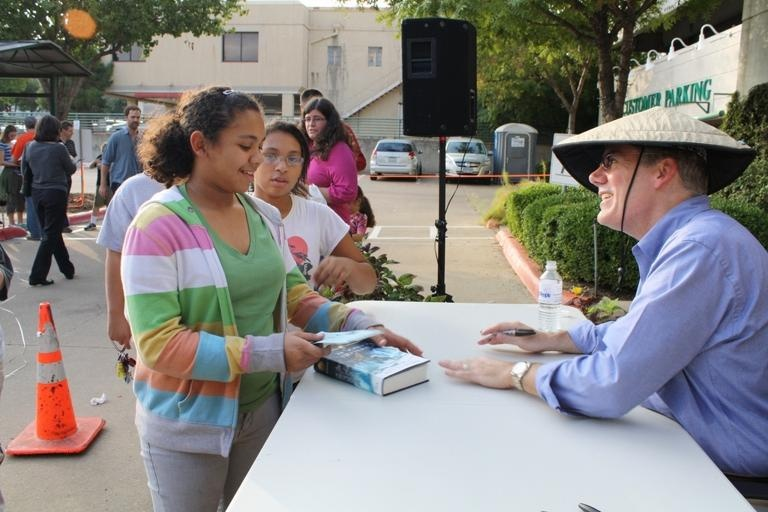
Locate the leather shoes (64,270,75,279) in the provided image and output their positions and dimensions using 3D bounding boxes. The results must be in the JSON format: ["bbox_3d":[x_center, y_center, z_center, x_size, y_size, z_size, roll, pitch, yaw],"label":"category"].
[{"bbox_3d":[-4.338,0.265,9.423,0.129,0.094,0.175,-5,14,-25],"label":"leather shoes"}]

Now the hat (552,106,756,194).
[{"bbox_3d":[1.385,-0.552,3.416,0.824,0.305,0.625,2,-16,5],"label":"hat"}]

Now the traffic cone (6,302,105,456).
[{"bbox_3d":[-2.430,0.863,5.006,0.593,1.079,0.442,-1,12,-5],"label":"traffic cone"}]

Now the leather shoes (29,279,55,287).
[{"bbox_3d":[-4.499,0.363,9.005,0.287,0.125,0.094,-5,12,-26],"label":"leather shoes"}]

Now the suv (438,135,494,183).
[{"bbox_3d":[2.951,-3.559,23.446,1.871,1.621,3.732,-1,1,2],"label":"suv"}]

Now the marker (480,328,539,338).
[{"bbox_3d":[0.662,0.405,3.636,0.293,0.063,0.063,-1,-5,24],"label":"marker"}]

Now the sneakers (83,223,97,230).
[{"bbox_3d":[-5.698,-0.536,13.416,0.144,0.140,0.328,0,-3,34],"label":"sneakers"}]
